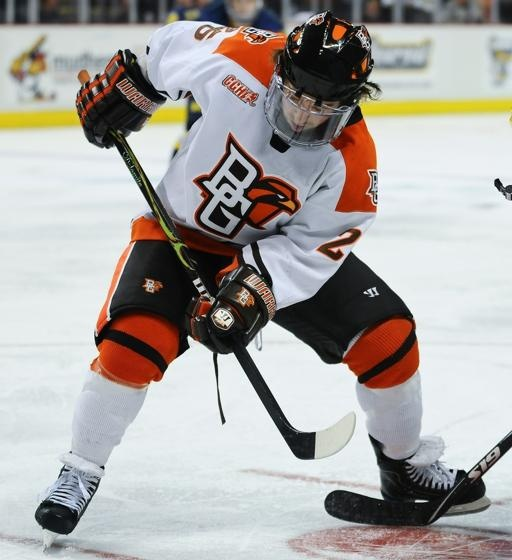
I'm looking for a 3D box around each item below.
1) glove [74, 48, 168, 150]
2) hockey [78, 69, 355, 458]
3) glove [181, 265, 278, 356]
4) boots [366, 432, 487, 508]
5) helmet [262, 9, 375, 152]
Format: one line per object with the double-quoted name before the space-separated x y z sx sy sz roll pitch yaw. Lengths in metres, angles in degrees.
"glove" -0.320 -0.447 1.664 0.253 0.169 0.163 -4 21 30
"hockey" -0.116 -0.029 1.414 0.387 0.880 0.087 -34 -2 2
"glove" -0.047 0.062 1.290 0.116 0.165 0.166 9 17 24
"boots" 0.391 0.436 1.482 0.257 0.127 0.080 -1 11 33
"helmet" 0.102 -0.420 1.337 0.233 0.235 0.256 21 26 -17
